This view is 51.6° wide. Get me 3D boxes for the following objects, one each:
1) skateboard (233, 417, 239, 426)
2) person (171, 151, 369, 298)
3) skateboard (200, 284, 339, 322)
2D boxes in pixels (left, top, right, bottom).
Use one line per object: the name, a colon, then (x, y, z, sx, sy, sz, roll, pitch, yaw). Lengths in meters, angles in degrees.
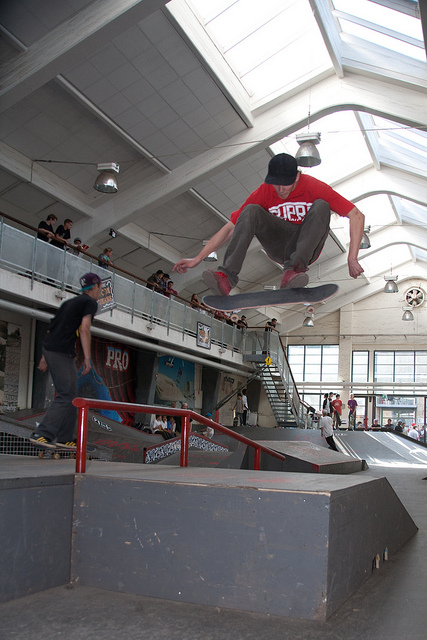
skateboard: (1.208, 5.437, 24.077, 0.257, 0.412, 0.830, 6, -12, 4)
person: (0.487, -0.748, 3.776, 1.507, 1.256, 0.814, 4, -15, 16)
skateboard: (0.450, -0.187, 3.666, 1.085, 0.305, 0.357, 5, -12, 8)
